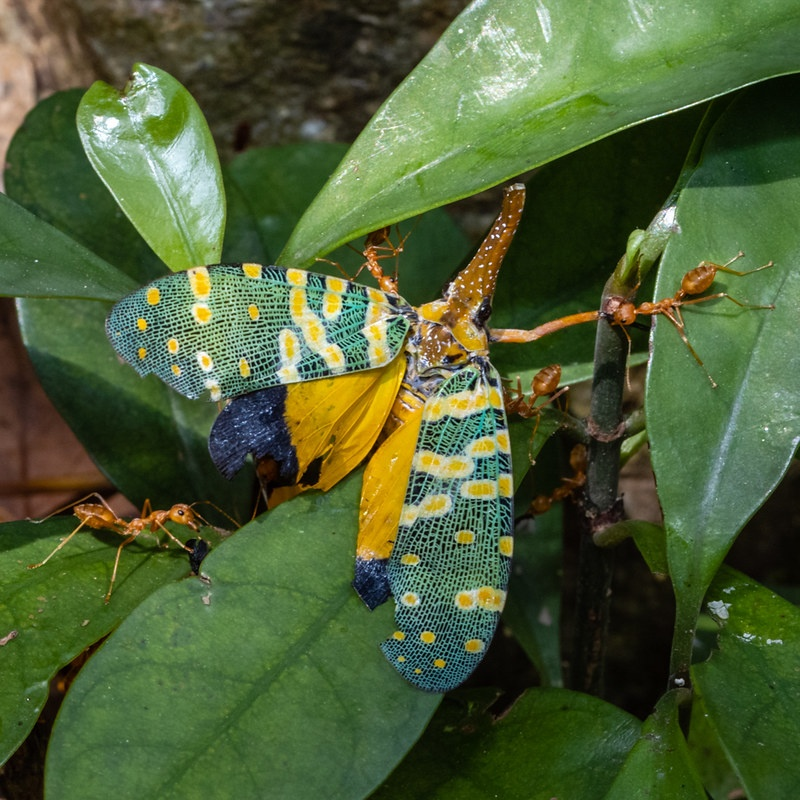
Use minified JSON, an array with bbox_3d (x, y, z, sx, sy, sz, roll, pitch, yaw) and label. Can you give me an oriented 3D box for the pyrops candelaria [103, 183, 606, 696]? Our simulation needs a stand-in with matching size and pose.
[{"bbox_3d":[0.042,0.024,0.871,0.384,0.286,0.469,-33,71,-11],"label":"pyrops candelaria"}]
